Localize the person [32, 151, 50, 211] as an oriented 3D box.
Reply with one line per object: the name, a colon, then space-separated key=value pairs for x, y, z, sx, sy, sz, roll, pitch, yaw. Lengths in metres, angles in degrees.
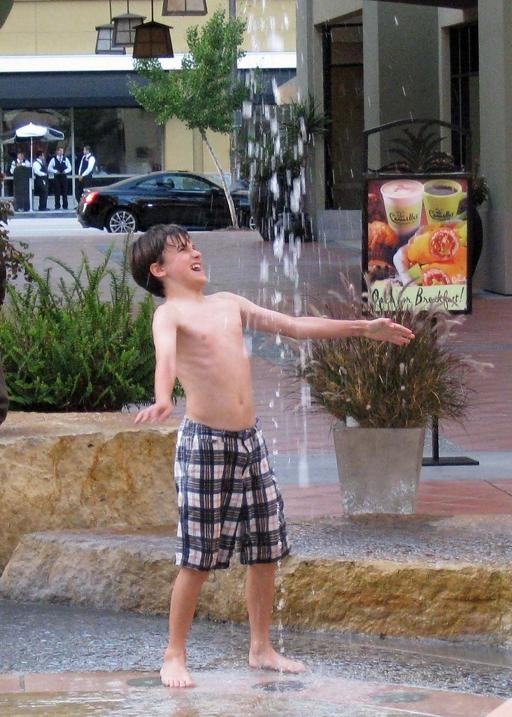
person: x=-7.678 y=-6.206 z=30.479 sx=0.558 sy=1.882 sz=0.625 roll=-4 pitch=9 yaw=7

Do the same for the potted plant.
potted plant: x=0.551 y=0.174 z=4.355 sx=1.108 sy=1.242 sz=1.045 roll=1 pitch=-1 yaw=-5

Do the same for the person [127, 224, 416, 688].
person: x=-0.024 y=0.230 z=2.422 sx=0.749 sy=1.235 sz=0.549 roll=-8 pitch=9 yaw=-23

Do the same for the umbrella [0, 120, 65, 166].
umbrella: x=-7.989 y=-7.841 z=30.460 sx=1.615 sy=1.292 sz=1.818 roll=4 pitch=10 yaw=24
